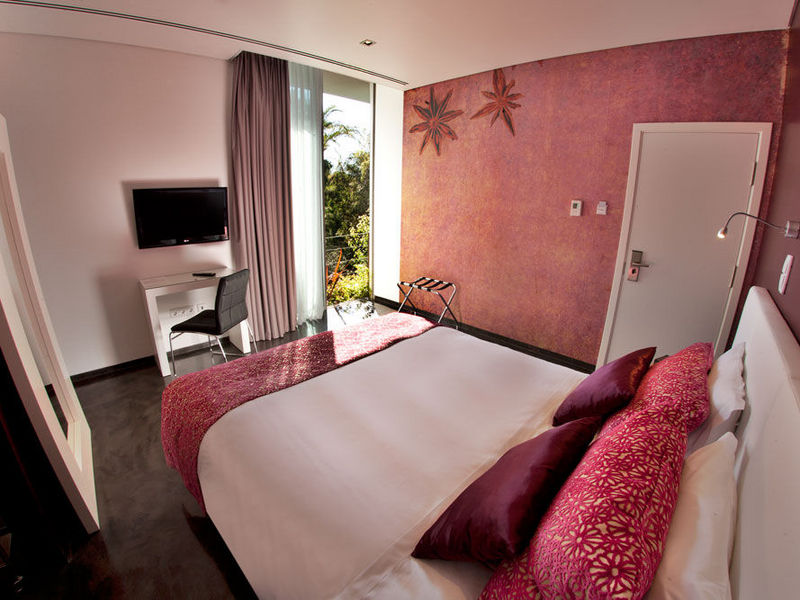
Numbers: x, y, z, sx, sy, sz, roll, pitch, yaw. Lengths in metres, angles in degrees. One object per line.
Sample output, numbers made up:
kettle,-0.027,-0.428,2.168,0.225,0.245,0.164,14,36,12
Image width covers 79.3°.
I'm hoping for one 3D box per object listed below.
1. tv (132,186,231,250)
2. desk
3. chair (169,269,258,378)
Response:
tv,-2.005,-0.766,4.402,0.606,0.422,0.062,-9,23,-39
desk,-1.985,0.150,5.061,0.775,1.149,1.192,-28,13,-17
chair,-1.669,0.193,4.421,0.793,0.941,0.766,-12,21,-42
